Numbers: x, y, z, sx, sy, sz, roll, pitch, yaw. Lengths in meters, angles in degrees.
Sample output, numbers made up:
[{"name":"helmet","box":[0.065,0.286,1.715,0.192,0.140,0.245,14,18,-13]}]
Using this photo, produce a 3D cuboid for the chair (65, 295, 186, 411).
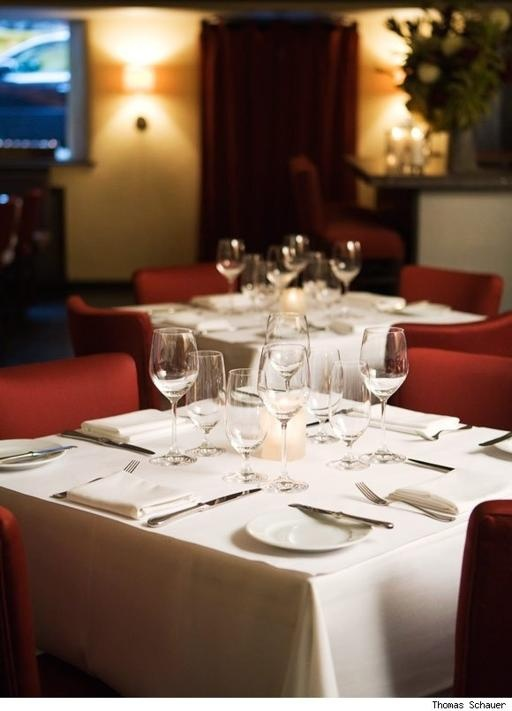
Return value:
[{"name":"chair","box":[-0.502,-0.063,2.063,0.355,0.603,0.332,-5,11,-28]}]

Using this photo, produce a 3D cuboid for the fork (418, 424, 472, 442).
[{"name":"fork","box":[0.340,0.138,1.044,0.095,0.015,0.014,-8,14,-40]}]

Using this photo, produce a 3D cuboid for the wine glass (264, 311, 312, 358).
[{"name":"wine glass","box":[0.066,-0.048,1.147,0.089,0.092,0.091,1,6,7]}]

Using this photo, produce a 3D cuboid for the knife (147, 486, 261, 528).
[{"name":"knife","box":[-0.061,0.177,0.676,0.016,0.006,0.120,-4,1,37]}]

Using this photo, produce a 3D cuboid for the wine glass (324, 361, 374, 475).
[{"name":"wine glass","box":[0.147,0.085,0.887,0.071,0.169,0.067,4,15,23]}]

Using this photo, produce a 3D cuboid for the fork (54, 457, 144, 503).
[{"name":"fork","box":[-0.212,0.167,0.774,0.011,0.008,0.101,31,22,21]}]

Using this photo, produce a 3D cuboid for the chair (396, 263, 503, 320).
[{"name":"chair","box":[0.876,-0.302,2.610,0.331,0.423,0.318,2,5,-43]}]
